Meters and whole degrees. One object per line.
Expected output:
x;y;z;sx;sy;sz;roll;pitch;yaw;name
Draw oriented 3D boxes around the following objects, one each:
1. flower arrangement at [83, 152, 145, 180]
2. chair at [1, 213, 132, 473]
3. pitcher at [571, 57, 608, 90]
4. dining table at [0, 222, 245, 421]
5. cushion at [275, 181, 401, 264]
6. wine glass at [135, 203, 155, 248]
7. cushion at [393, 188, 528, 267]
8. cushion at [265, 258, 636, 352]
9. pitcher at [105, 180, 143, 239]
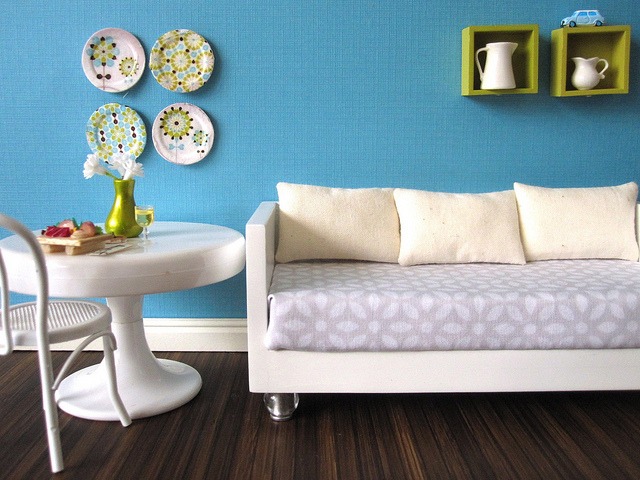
-1.056;-0.367;2.747;0.251;0.124;0.424;-8;12;-28;flower arrangement
-1.146;0.337;2.479;0.453;1.031;0.978;-7;11;-21;chair
1.442;-0.889;2.949;0.184;0.182;0.121;0;6;20;pitcher
-0.850;0.286;2.496;0.885;0.637;0.904;-1;8;-4;dining table
0.093;-0.084;2.929;0.670;0.462;0.207;2;-11;-10;cushion
-0.807;-0.075;2.557;0.091;0.179;0.092;10;12;7;wine glass
0.723;-0.069;2.928;0.700;0.442;0.204;-2;-24;8;cushion
0.611;0.303;2.580;1.707;0.320;0.508;-3;10;0;cushion
-0.920;-0.133;2.585;0.135;0.300;0.118;0;13;-16;pitcher
